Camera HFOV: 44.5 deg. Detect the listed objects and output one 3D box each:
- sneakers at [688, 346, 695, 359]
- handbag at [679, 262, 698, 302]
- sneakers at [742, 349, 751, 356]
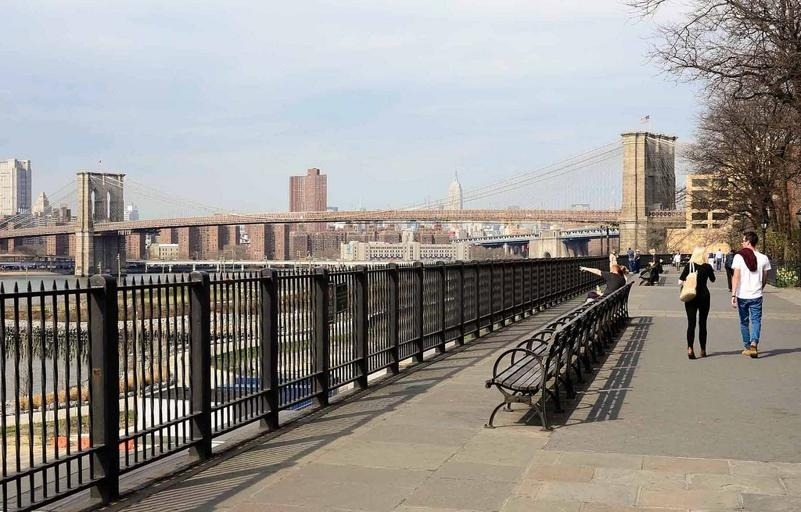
[{"bbox_3d":[5.137,1.700,17.149,0.110,0.173,0.287,1,11,21],"label":"sneakers"},{"bbox_3d":[5.008,0.462,16.959,0.275,0.652,0.425,2,10,15],"label":"handbag"},{"bbox_3d":[6.162,1.707,17.349,0.082,0.127,0.146,0,9,-9],"label":"sneakers"}]
